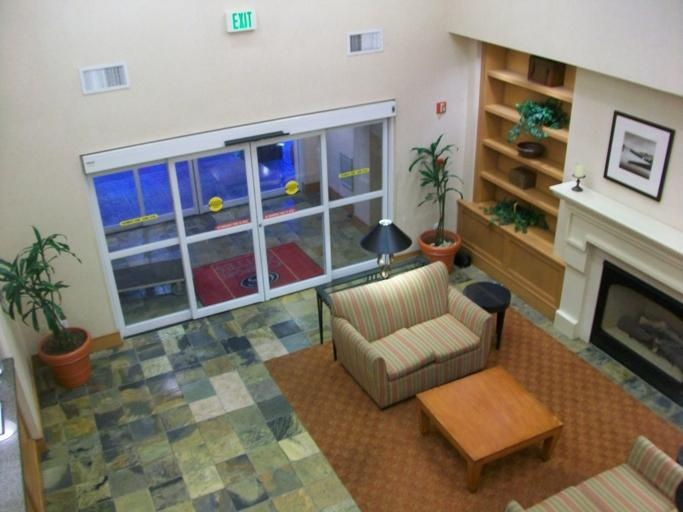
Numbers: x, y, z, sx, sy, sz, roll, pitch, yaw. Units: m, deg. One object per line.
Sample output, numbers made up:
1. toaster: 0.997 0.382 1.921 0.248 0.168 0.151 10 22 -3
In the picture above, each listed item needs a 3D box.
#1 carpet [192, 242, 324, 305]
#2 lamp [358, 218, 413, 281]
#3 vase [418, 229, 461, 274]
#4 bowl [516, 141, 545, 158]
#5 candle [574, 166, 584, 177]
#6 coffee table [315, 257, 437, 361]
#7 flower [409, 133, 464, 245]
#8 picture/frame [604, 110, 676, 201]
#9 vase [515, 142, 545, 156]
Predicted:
1. carpet: -1.412 0.232 8.284 2.073 1.053 0.060 -15 51 10
2. lamp: 0.541 0.014 6.598 0.482 0.922 0.530 -24 35 -30
3. vase: 1.655 -0.183 8.951 0.678 0.567 0.715 -8 34 -9
4. bowl: 2.889 -1.622 7.893 0.294 0.129 0.301 -4 35 3
5. candle: 3.049 -1.086 6.692 0.123 0.128 0.128 11 37 17
6. coffee table: 0.479 0.766 6.977 1.191 0.786 0.440 -21 45 -20
7. flower: 1.646 -1.155 8.829 1.015 1.812 0.577 -26 35 -32
8. picture/frame: 3.540 -1.210 6.112 0.033 0.929 0.850 -21 42 -28
9. vase: 2.882 -1.624 7.890 0.283 0.123 0.288 -4 34 5
